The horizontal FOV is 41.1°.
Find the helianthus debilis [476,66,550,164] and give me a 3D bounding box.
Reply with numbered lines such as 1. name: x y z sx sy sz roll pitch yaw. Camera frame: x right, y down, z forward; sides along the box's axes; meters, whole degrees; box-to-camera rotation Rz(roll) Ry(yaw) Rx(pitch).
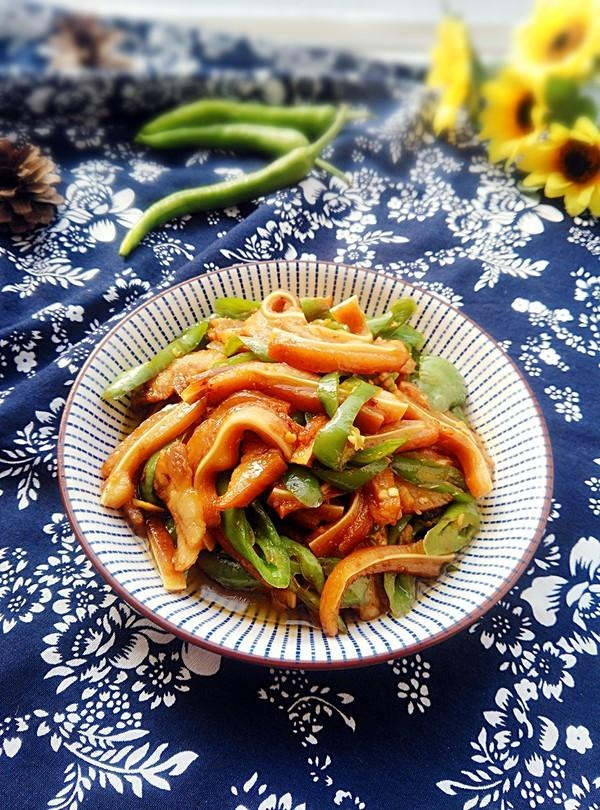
1. helianthus debilis: 1.062 -1.457 4.038 0.182 0.407 0.372 -21 113 -39
